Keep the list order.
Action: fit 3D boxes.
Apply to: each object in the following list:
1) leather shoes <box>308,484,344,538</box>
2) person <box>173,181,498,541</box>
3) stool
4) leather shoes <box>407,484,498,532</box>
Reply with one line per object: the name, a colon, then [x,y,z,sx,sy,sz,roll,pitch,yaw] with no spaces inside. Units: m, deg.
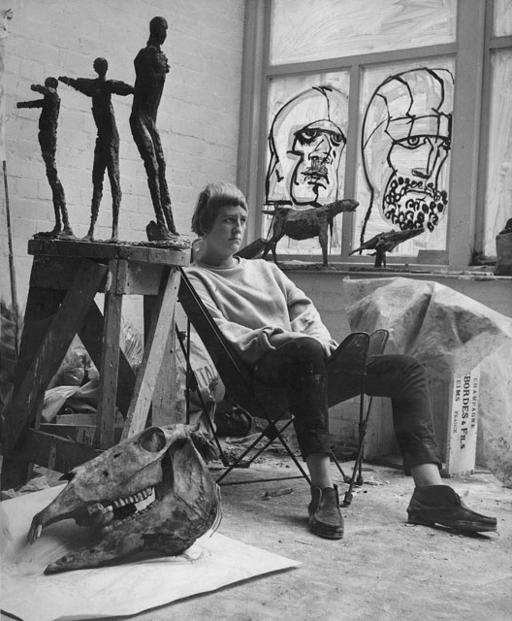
leather shoes: [0.195,0.542,2.701,0.097,0.110,0.128,5,10,3]
person: [0.158,0.095,2.962,0.579,1.254,0.974,2,-13,-39]
stool: [-0.480,0.169,2.881,0.507,0.778,0.444,9,11,23]
leather shoes: [0.565,0.554,2.815,0.269,0.157,0.101,-1,-9,20]
